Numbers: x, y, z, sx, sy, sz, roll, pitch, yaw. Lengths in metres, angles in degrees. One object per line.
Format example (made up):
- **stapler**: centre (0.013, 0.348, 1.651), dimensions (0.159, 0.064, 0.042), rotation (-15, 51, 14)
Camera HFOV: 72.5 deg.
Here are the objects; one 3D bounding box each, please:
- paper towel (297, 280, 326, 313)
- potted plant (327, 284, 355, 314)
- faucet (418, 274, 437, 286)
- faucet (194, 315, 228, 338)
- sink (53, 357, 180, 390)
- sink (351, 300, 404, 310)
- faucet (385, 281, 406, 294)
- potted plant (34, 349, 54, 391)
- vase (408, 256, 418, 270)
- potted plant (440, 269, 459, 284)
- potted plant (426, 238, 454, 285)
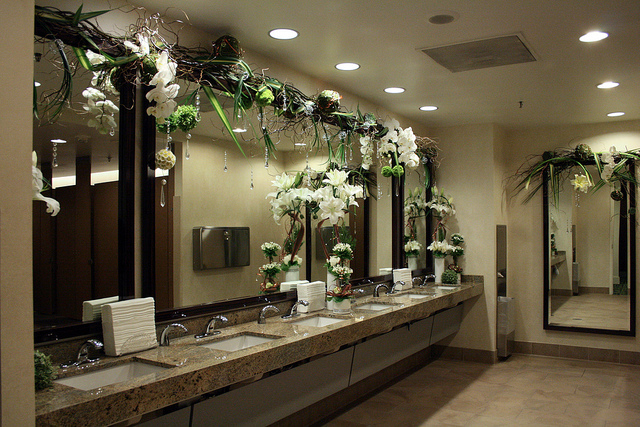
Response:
- **paper towel**: centre (-0.080, 0.795, 4.174), dimensions (0.111, 0.268, 0.317), rotation (-6, -7, 33)
- **potted plant**: centre (0.193, 0.819, 4.163), dimensions (0.290, 0.251, 0.274), rotation (-7, -12, 1)
- **faucet**: centre (1.481, 0.926, 6.085), dimensions (0.126, 0.099, 0.254), rotation (3, -7, -20)
- **faucet**: centre (-0.811, 0.843, 3.314), dimensions (0.304, 0.138, 0.103), rotation (-4, 2, -41)
- **sink**: centre (-1.315, 0.940, 2.711), dimensions (0.421, 0.188, 0.533), rotation (-3, -4, 40)
- **sink**: centre (0.622, 0.985, 4.625), dimensions (0.528, 0.094, 0.288), rotation (-1, -1, 8)
- **faucet**: centre (0.923, 0.897, 5.377), dimensions (0.217, 0.138, 0.326), rotation (-1, -1, 17)
- **potted plant**: centre (-1.525, 0.862, 2.400), dimensions (0.090, 0.174, 0.113), rotation (0, -1, -32)
- **vase**: centre (1.315, 0.698, 6.155), dimensions (0.174, 0.192, 0.176), rotation (3, -2, -38)
- **potted plant**: centre (1.840, 0.893, 6.193), dimensions (0.176, 0.105, 0.182), rotation (-15, -11, 36)
- **potted plant**: centre (1.729, 0.699, 6.283), dimensions (0.509, 0.696, 0.528), rotation (0, -2, 12)
